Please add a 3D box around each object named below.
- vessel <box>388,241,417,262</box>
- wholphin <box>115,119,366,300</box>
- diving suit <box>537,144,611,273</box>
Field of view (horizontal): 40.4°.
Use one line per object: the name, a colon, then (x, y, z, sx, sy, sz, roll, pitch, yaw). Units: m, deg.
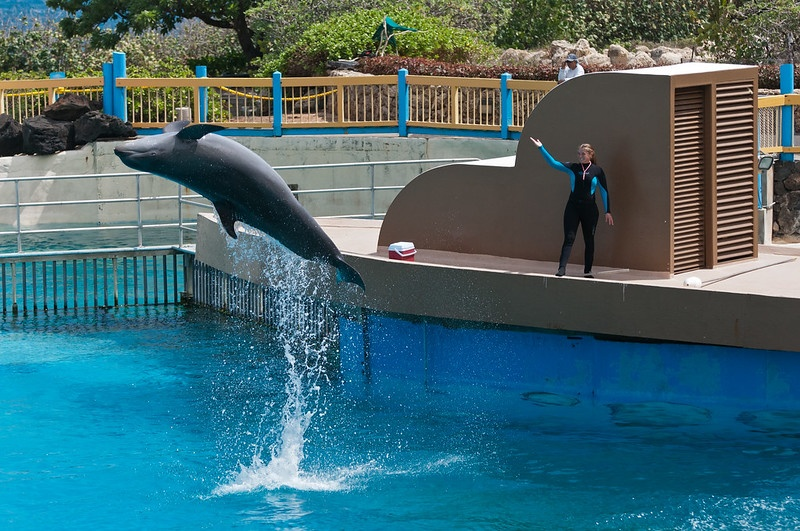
vessel: (-0.001, -0.262, 17.220, 0.274, 0.262, 0.391, 6, 7, 41)
wholphin: (-2.119, -0.993, 14.847, 3.687, 1.417, 1.441, 19, -16, -29)
diving suit: (2.661, -0.833, 16.396, 1.139, 1.995, 0.720, -4, 7, -25)
